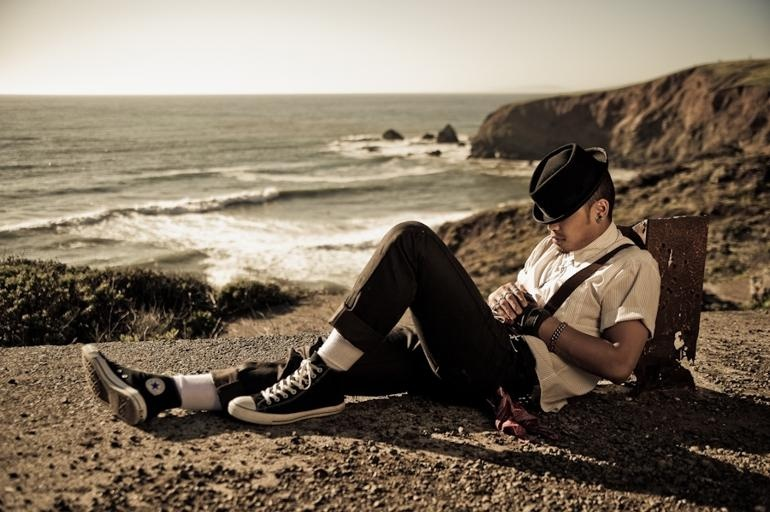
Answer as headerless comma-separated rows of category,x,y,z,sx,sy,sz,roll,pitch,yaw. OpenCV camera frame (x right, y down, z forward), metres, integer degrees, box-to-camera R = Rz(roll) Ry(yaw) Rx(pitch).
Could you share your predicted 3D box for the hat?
hat,1.428,-0.574,5.323,0.577,0.595,0.290,0,18,15
